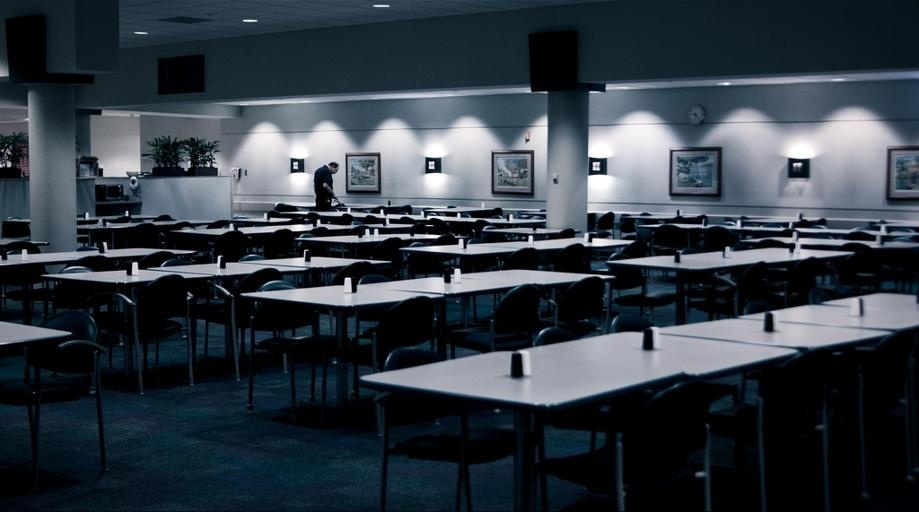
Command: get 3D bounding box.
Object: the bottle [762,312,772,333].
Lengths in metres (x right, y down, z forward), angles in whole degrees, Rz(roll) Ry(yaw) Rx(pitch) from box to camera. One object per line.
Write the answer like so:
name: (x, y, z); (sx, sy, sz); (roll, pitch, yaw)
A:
bottle: (2.705, 0.572, 6.118); (0.086, 0.152, 0.167); (1, 6, 22)

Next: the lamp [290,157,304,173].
lamp: (-5.635, -3.179, 24.309); (0.525, 0.502, 0.155); (2, 6, 28)

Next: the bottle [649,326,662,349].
bottle: (1.560, 0.652, 5.620); (0.064, 0.153, 0.108); (1, 6, 21)

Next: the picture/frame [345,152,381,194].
picture/frame: (-3.205, -2.798, 23.139); (1.241, 0.965, 0.080); (-3, 5, -27)

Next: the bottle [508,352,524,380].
bottle: (0.406, 0.764, 4.945); (0.091, 0.165, 0.108); (-1, 5, -1)

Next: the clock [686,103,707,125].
clock: (6.345, -3.800, 18.709); (0.554, 0.465, 0.169); (27, 20, 37)

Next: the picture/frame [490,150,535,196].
picture/frame: (1.638, -2.513, 20.825); (1.692, 1.355, 0.126); (2, 8, 26)

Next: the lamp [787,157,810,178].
lamp: (8.617, -2.265, 17.751); (0.640, 0.498, 0.303); (3, 5, 37)
